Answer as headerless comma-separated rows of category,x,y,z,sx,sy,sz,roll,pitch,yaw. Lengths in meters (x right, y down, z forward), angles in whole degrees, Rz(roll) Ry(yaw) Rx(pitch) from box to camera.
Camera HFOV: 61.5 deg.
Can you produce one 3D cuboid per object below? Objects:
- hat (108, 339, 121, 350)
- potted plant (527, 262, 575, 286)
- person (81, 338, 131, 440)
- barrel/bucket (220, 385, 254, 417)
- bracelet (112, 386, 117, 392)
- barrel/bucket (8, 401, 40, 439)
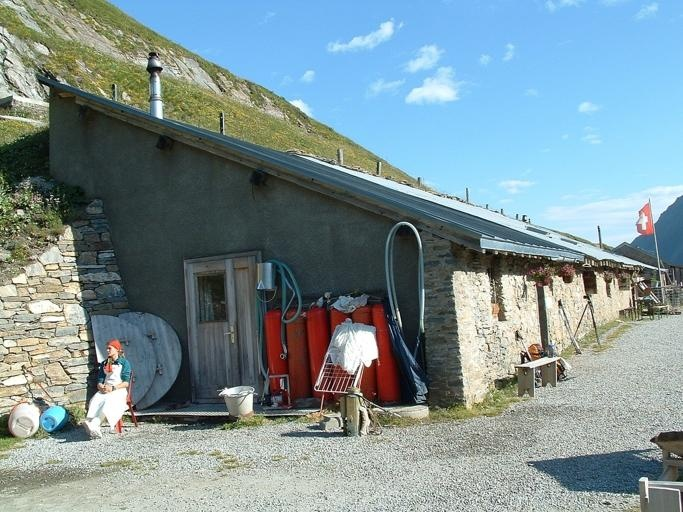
hat,-3.957,1.517,9.910,0.152,0.166,0.190,-9,-37,33
potted plant,4.695,0.381,12.821,1.130,0.428,0.737,4,-7,-39
person,-3.904,2.190,9.529,0.450,1.483,0.904,-4,2,19
barrel/bucket,-1.765,2.454,9.770,0.562,0.410,0.504,-3,-14,-26
bracelet,-3.797,2.168,9.503,0.075,0.080,0.036,-6,2,-44
barrel/bucket,-5.416,2.768,9.689,0.496,0.597,0.262,-5,2,-21
